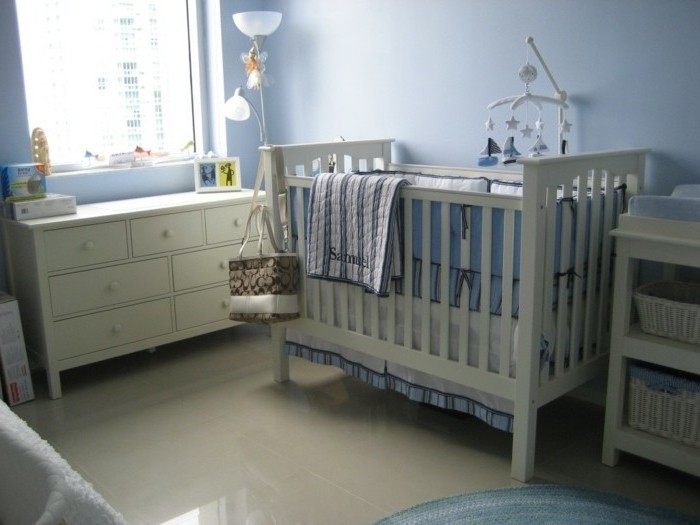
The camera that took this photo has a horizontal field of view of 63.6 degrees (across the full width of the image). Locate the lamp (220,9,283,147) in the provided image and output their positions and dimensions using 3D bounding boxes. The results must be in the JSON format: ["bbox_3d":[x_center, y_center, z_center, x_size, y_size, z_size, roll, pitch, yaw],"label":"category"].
[{"bbox_3d":[-0.623,-1.187,3.660,0.430,0.864,0.646,-4,15,-7],"label":"lamp"}]

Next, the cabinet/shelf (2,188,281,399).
[{"bbox_3d":[-1.153,0.184,3.043,0.929,0.631,0.337,-15,20,-43],"label":"cabinet/shelf"}]
